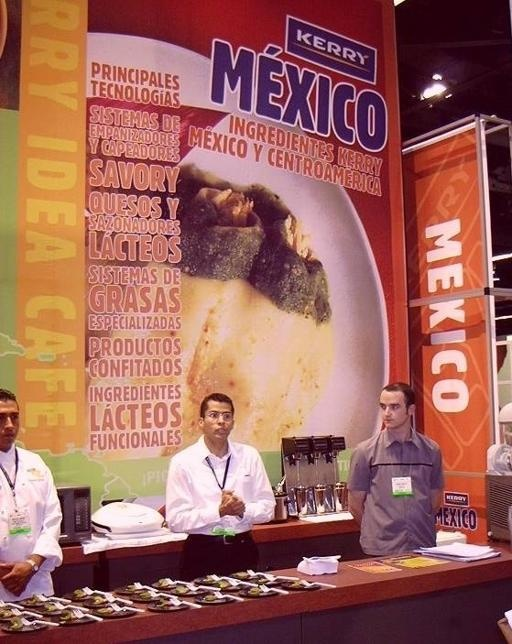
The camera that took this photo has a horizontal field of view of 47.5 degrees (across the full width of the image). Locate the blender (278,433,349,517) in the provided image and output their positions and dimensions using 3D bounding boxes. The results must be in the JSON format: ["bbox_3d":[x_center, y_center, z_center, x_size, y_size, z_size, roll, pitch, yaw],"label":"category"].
[{"bbox_3d":[0.387,0.956,3.676,0.512,0.451,0.256,8,-17,-39],"label":"blender"}]

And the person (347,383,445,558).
[{"bbox_3d":[0.647,0.843,2.683,0.443,1.041,0.296,-1,-2,-7],"label":"person"}]
